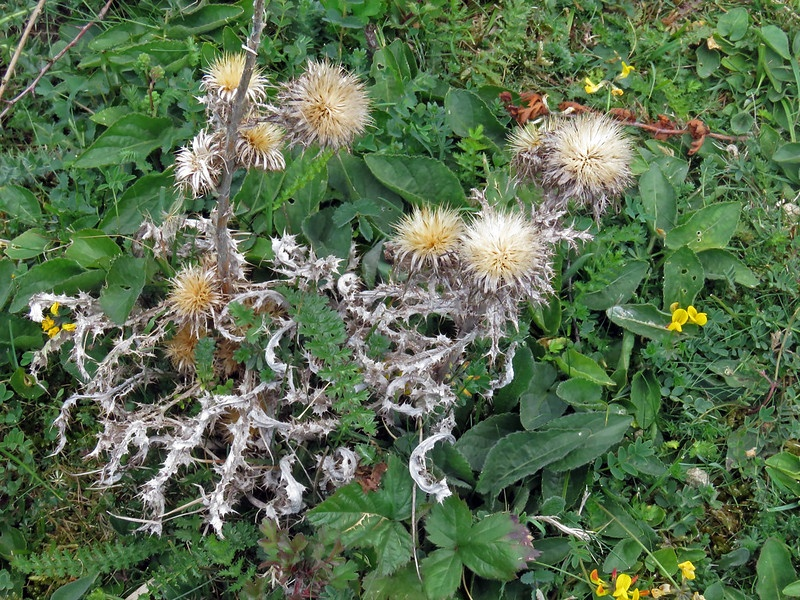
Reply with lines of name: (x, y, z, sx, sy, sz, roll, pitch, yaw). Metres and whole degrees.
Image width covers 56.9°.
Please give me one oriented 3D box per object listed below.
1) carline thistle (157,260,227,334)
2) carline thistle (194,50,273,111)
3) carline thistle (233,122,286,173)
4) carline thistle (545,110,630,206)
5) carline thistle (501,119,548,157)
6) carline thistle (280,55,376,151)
carline thistle: (-0.727, -0.004, 2.606, 0.195, 0.152, 0.253, 0, 82, -3)
carline thistle: (-0.567, -0.704, 2.409, 0.113, 0.139, 0.124, 12, 23, 32)
carline thistle: (-0.476, -0.513, 2.449, 0.172, 0.099, 0.189, -9, 34, -13)
carline thistle: (0.644, -0.474, 2.541, 0.260, 0.171, 0.321, 1, 86, 6)
carline thistle: (0.490, -0.633, 2.907, 0.176, 0.089, 0.169, -46, 33, -13)
carline thistle: (-0.257, -0.728, 2.379, 0.276, 0.192, 0.310, -11, 40, -4)
